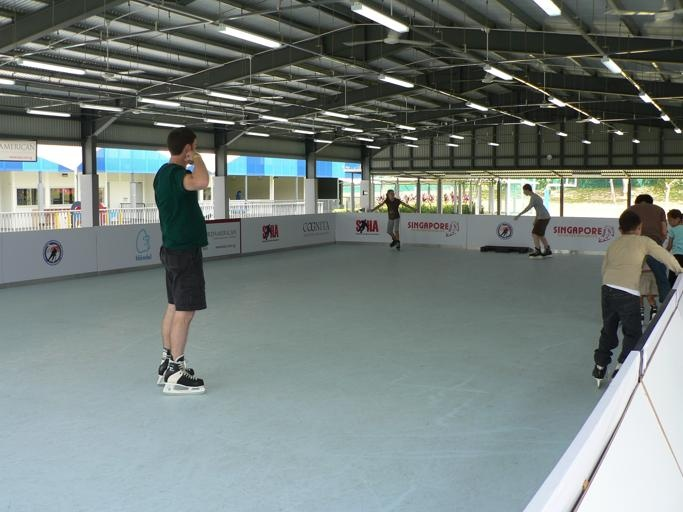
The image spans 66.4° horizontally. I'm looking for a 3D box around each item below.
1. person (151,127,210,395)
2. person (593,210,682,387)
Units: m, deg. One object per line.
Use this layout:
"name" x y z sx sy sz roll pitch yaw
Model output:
"person" -1.565 0.034 5.103 0.538 2.637 0.915 -3 7 -21
"person" 2.896 0.435 5.255 0.625 1.743 0.796 3 7 28
